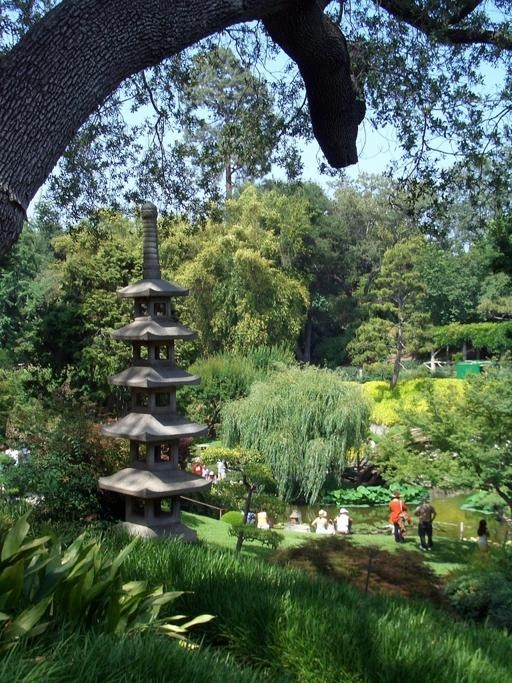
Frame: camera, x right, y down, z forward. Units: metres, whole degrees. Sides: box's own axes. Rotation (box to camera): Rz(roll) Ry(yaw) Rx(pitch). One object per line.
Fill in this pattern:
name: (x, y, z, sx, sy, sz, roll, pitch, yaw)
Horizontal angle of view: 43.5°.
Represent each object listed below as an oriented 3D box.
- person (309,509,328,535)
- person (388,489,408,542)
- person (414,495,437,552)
person: (1.592, 4.533, 16.113, 0.428, 0.542, 1.777, 3, -8, 6)
person: (3.453, 4.253, 15.583, 0.421, 1.197, 0.405, -7, 3, 19)
person: (4.028, 4.327, 15.318, 0.407, 1.140, 1.350, 2, -8, 16)
